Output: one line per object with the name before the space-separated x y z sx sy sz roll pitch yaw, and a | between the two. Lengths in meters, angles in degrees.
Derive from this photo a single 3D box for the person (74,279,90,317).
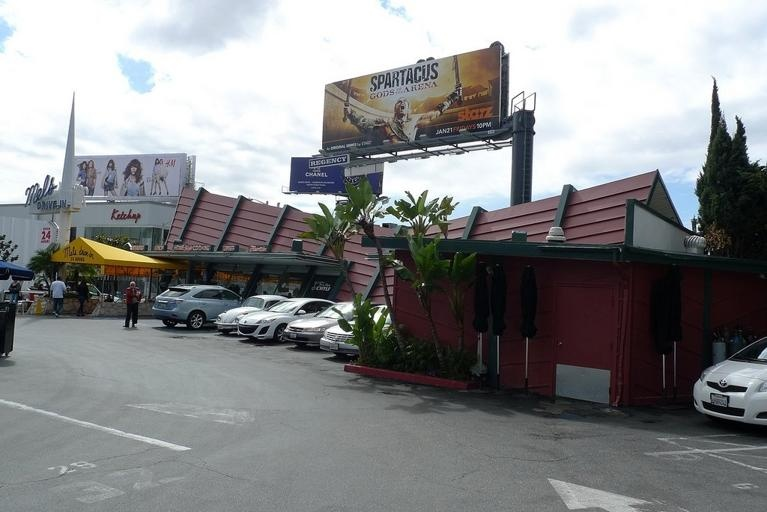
person | -15.246 2.148 27.950 0.494 1.186 0.871 10 -8 -27

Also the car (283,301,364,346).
car | -2.415 2.398 19.598 3.231 1.032 1.346 7 -9 -44

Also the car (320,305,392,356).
car | -0.784 2.571 18.086 2.560 1.056 1.349 11 -13 -39

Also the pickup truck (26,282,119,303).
pickup truck | -17.329 2.042 30.650 3.424 1.180 1.345 0 -3 -1
